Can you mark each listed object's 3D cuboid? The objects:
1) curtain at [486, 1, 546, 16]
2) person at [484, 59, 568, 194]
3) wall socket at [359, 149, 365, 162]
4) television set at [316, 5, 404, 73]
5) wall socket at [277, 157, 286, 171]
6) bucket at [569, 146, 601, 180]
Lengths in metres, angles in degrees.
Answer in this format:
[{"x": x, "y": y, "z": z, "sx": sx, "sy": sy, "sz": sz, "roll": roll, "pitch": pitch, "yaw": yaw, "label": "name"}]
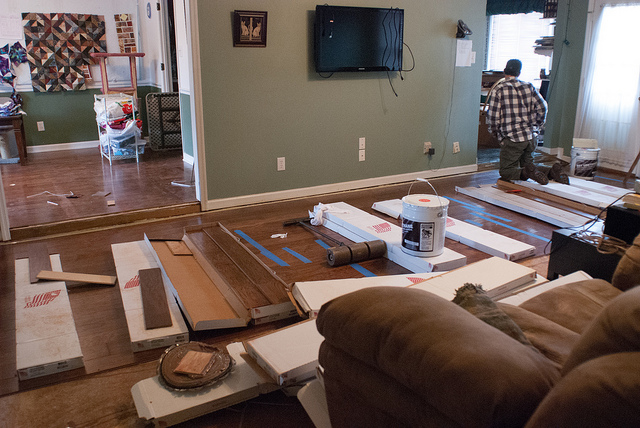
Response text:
[{"x": 3.899, "y": -4.208, "z": 8.912, "sx": 0.276, "sy": 0.300, "sz": 1.400, "roll": -9, "pitch": 22, "yaw": -19, "label": "curtain"}, {"x": 2.582, "y": -1.196, "z": 5.634, "sx": 0.965, "sy": 1.472, "sz": 2.058, "roll": 7, "pitch": 22, "yaw": 21, "label": "person"}, {"x": 0.509, "y": -0.708, "z": 5.345, "sx": 0.075, "sy": 0.138, "sz": 0.013, "roll": -10, "pitch": 22, "yaw": -22, "label": "wall socket"}, {"x": 0.458, "y": -1.936, "z": 4.893, "sx": 1.108, "sy": 0.660, "sz": 0.059, "roll": -11, "pitch": 22, "yaw": -24, "label": "television set"}, {"x": -0.432, "y": -0.563, "z": 4.918, "sx": 0.125, "sy": 0.215, "sz": 0.023, "roll": -7, "pitch": 16, "yaw": -30, "label": "wall socket"}, {"x": 3.440, "y": -0.659, "z": 5.822, "sx": 0.365, "sy": 0.407, "sz": 0.392, "roll": 1, "pitch": 14, "yaw": 0, "label": "bucket"}]
